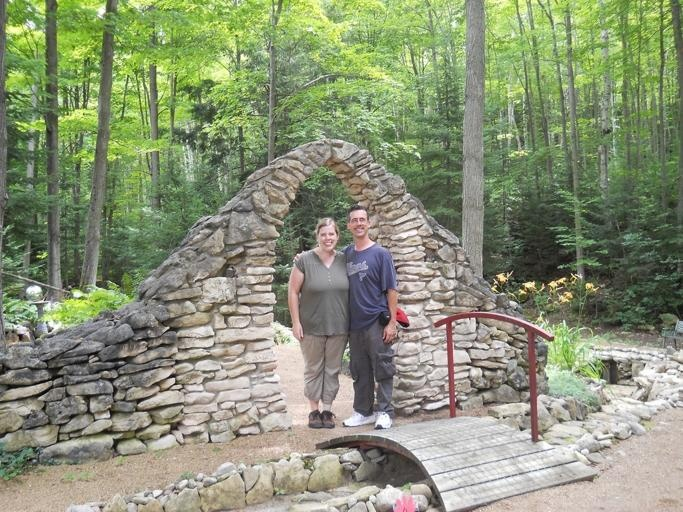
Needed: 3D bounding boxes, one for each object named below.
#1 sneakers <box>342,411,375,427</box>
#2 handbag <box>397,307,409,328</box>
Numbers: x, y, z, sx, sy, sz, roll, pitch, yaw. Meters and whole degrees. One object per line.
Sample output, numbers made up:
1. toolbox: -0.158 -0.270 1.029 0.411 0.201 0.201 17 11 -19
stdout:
1. sneakers: 0.261 2.334 7.932 0.536 0.221 0.174 1 -2 -12
2. handbag: 0.868 0.874 7.741 0.156 0.286 0.285 -1 -1 11
